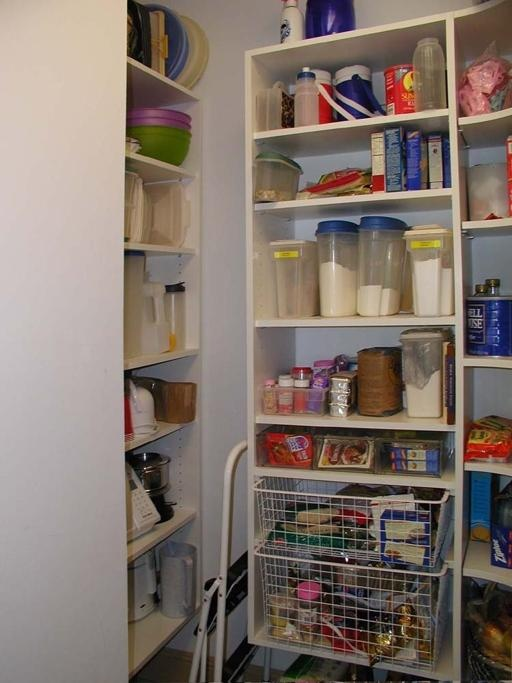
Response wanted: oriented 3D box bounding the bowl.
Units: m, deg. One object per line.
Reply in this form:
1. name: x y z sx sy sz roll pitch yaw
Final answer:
1. bowl: -0.277 -0.618 1.734 0.180 0.121 0.177 0 -3 0

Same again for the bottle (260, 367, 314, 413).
1. bottle: 0.088 0.136 1.659 0.126 0.119 0.128 -1 -6 15

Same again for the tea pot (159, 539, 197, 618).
1. tea pot: -0.253 0.784 1.890 0.143 0.187 0.118 -7 -18 19

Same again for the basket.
1. basket: 0.248 0.581 1.556 0.526 0.455 0.265 0 2 28

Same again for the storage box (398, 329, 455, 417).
1. storage box: 0.438 0.079 1.498 0.131 0.226 0.183 -1 2 15
